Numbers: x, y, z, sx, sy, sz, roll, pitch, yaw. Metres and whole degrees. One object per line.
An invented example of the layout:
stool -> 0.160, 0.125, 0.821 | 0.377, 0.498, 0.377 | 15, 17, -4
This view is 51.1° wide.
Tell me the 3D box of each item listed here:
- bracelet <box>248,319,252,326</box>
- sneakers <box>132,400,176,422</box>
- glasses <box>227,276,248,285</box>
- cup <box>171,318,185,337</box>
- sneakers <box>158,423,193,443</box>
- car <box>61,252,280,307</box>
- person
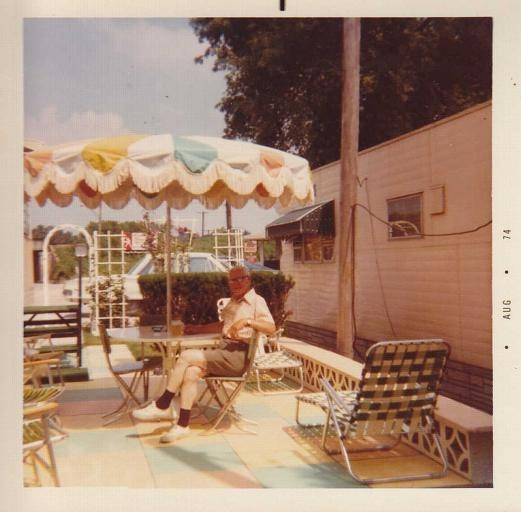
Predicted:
bracelet -> -0.098, 0.624, 5.069 | 0.039, 0.043, 0.024 | -6, 3, -2
sneakers -> -1.068, 1.599, 5.544 | 0.467, 0.213, 0.222 | 7, -9, -21
glasses -> -0.219, 0.247, 5.424 | 0.163, 0.056, 0.176 | -2, -10, 14
cup -> -0.838, 0.750, 5.513 | 0.115, 0.165, 0.120 | 1, 4, 0
sneakers -> -0.775, 1.626, 5.006 | 0.298, 0.134, 0.121 | 2, -2, -40
car -> -2.067, 0.507, 11.133 | 3.055, 0.920, 1.146 | -1, -1, -22
person -> -0.530, 0.921, 5.265 | 1.161, 1.691, 0.979 | 5, -13, -16
